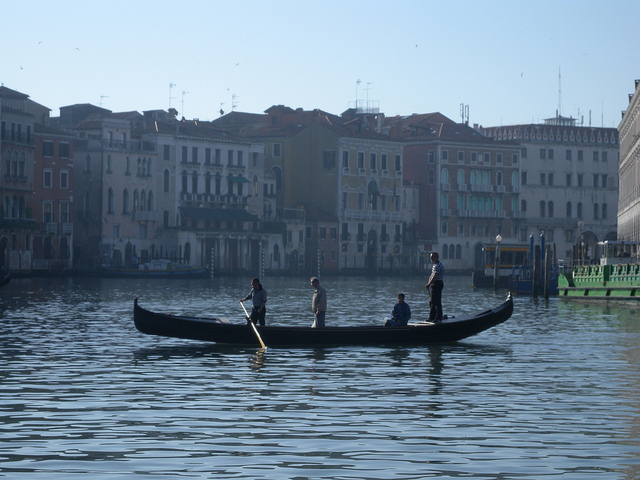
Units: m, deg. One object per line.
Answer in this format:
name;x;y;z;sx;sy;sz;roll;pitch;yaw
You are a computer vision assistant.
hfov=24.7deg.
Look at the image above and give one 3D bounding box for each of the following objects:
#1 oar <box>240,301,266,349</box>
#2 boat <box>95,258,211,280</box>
oar;-2.148;2.772;46.238;0.220;1.660;0.135;-37;-1;-22
boat;-12.076;2.350;106.813;3.725;1.617;8.805;2;5;42
